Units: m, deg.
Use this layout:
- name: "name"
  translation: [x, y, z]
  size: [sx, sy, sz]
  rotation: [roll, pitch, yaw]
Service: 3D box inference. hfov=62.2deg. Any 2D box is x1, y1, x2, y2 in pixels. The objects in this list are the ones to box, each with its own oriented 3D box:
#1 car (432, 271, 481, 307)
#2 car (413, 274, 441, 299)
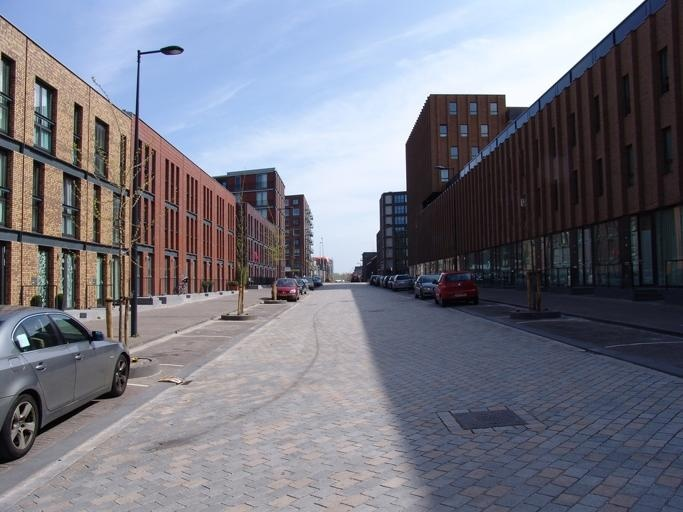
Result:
- name: "car"
  translation: [5.163, 1.460, 25.870]
  size: [1.137, 1.050, 2.062]
  rotation: [-1, 1, 0]
- name: "car"
  translation: [4.896, 1.762, 32.162]
  size: [1.238, 1.065, 3.014]
  rotation: [-1, -5, -4]
